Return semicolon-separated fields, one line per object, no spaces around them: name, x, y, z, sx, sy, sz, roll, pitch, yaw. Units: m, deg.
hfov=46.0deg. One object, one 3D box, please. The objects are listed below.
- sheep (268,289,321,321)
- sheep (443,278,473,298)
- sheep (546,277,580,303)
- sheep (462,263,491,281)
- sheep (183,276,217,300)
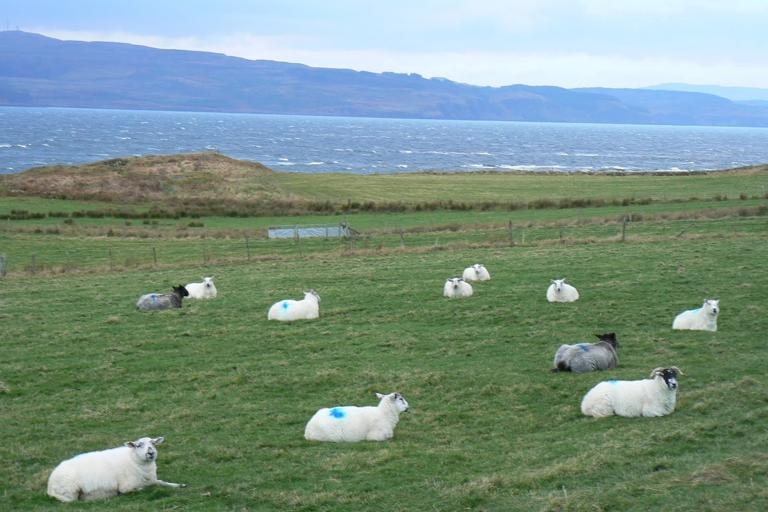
sheep;-4.956;2.846;50.565;3.188;1.070;1.679;-2;4;-15
sheep;4.396;1.887;52.978;1.719;1.130;0.958;0;8;2
sheep;10.217;1.987;51.502;2.017;1.167;3.270;-3;-2;10
sheep;5.913;1.060;57.224;1.712;0.757;2.247;-1;-3;2
sheep;-10.968;1.900;54.568;1.775;1.301;1.169;2;9;14
